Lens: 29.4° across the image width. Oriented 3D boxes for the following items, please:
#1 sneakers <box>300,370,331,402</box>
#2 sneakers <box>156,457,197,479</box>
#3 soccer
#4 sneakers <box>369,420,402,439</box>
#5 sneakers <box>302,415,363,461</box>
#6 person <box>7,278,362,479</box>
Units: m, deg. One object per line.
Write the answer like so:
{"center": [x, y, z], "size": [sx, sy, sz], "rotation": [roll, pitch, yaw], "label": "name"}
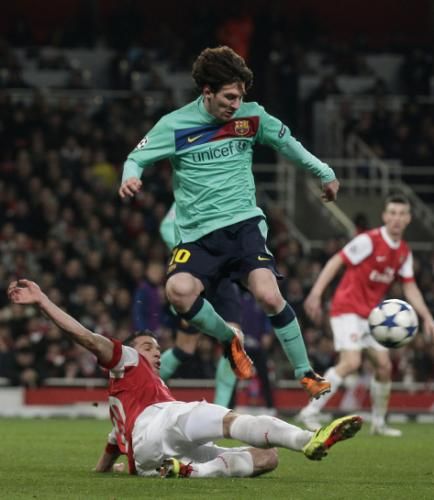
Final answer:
{"center": [0.620, 0.882, 5.381], "size": [0.100, 0.122, 0.252], "rotation": [-43, 9, -8], "label": "sneakers"}
{"center": [-0.237, 1.265, 4.774], "size": [0.185, 0.122, 0.070], "rotation": [13, 22, -5], "label": "sneakers"}
{"center": [1.452, 0.621, 6.844], "size": [0.401, 0.395, 0.278], "rotation": [-1, 6, 31], "label": "soccer"}
{"center": [1.906, 2.040, 9.330], "size": [0.417, 0.148, 0.129], "rotation": [-1, 0, 16], "label": "sneakers"}
{"center": [0.614, 0.989, 4.376], "size": [0.312, 0.220, 0.182], "rotation": [-7, 6, -39], "label": "sneakers"}
{"center": [-0.284, 0.858, 4.867], "size": [1.810, 0.763, 1.236], "rotation": [4, -20, 25], "label": "person"}
